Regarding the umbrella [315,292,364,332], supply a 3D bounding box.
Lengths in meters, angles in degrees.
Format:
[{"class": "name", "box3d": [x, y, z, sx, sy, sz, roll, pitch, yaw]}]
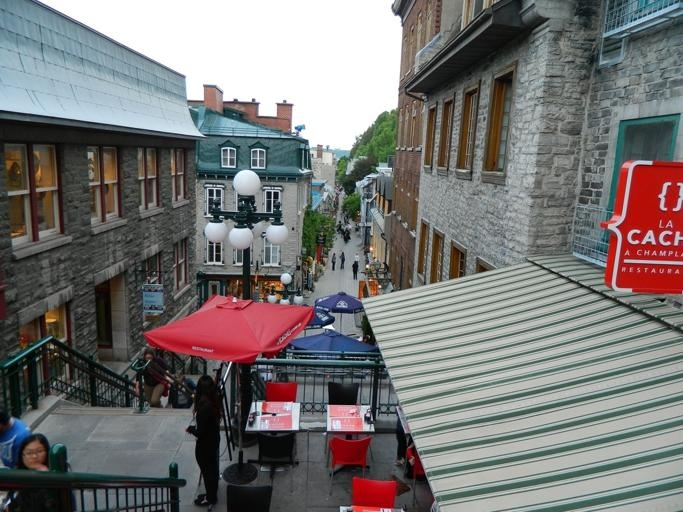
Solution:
[{"class": "umbrella", "box3d": [0.002, 2.110, 20.235, 1.261, 0.655, 1.293, 0, 7, -35]}]

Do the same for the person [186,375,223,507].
[{"class": "person", "box3d": [-2.079, 2.775, 8.149, 0.446, 1.991, 0.432, 0, 7, -2]}]

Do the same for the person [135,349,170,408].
[{"class": "person", "box3d": [-4.297, 3.010, 12.058, 0.637, 1.655, 1.068, -3, 2, -16]}]
